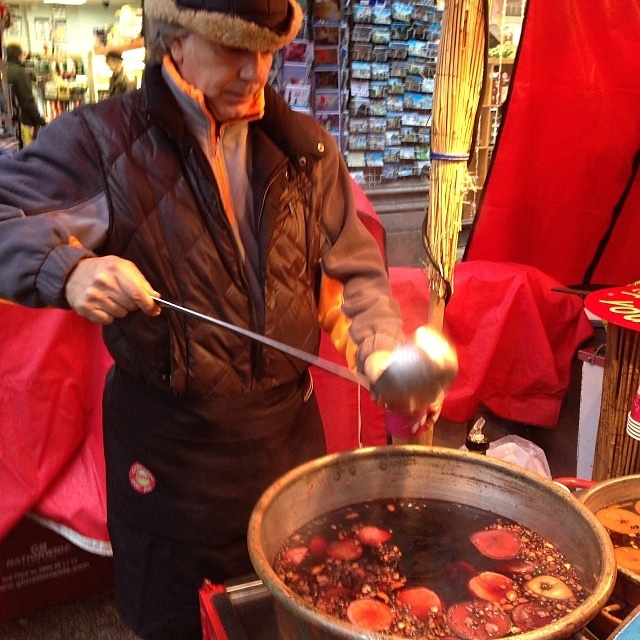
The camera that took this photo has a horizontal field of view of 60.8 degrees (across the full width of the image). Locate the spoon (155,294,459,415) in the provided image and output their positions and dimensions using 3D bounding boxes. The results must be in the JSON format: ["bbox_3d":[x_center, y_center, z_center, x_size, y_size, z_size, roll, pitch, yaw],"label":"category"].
[{"bbox_3d":[-0.055,0.073,1.171,0.533,0.202,0.175,17,62,13],"label":"spoon"}]

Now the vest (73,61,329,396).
[{"bbox_3d":[-0.234,-0.209,1.277,0.636,0.767,0.349,-8,7,-32],"label":"vest"}]
